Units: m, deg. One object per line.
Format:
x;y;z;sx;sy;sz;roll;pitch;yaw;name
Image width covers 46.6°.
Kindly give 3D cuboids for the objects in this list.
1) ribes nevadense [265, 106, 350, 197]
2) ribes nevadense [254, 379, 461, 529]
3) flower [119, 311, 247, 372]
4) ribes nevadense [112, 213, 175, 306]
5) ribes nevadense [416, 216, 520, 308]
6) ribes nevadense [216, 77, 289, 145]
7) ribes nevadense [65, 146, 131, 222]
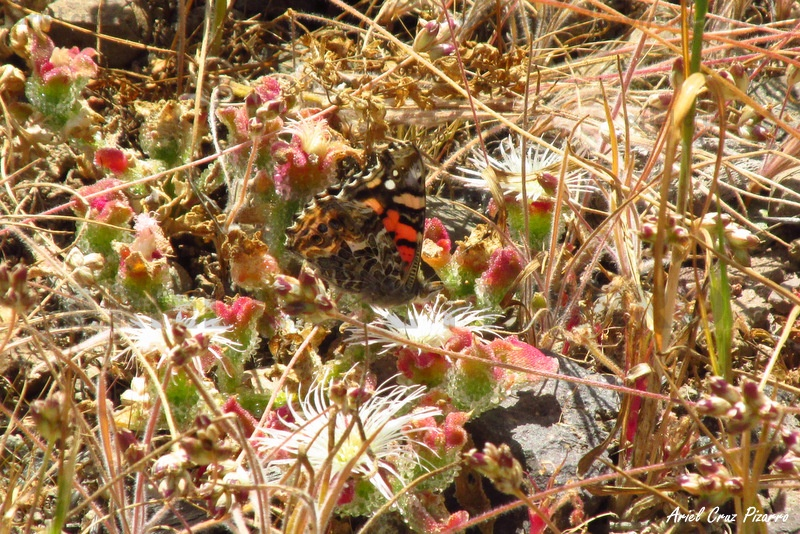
-0.362;-0.418;3.536;0.269;0.157;0.326;0;71;-4;ribes nevadense
-0.171;0.608;3.112;0.513;0.239;0.535;0;6;-22;ribes nevadense
-0.733;0.236;3.187;0.255;0.255;0.093;13;88;-19;flower
-0.972;-0.019;3.459;0.198;0.243;0.313;-12;52;-6;ribes nevadense
0.268;0.002;3.703;0.336;0.357;0.210;28;67;-24;ribes nevadense
-0.524;-0.618;3.556;0.213;0.141;0.334;-7;34;42;ribes nevadense
-1.137;-0.277;3.594;0.214;0.097;0.350;-10;40;-6;ribes nevadense
